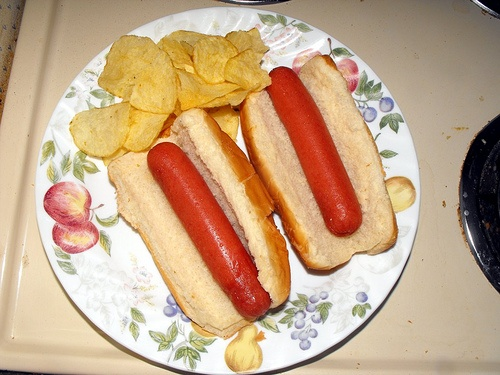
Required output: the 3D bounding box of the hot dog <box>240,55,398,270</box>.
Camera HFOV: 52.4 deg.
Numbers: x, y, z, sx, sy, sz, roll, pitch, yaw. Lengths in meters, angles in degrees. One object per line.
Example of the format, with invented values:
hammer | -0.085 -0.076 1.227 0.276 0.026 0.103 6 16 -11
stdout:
hot dog | 0.599 -0.174 4.533 1.051 2.013 0.426 -20 -4 -6
